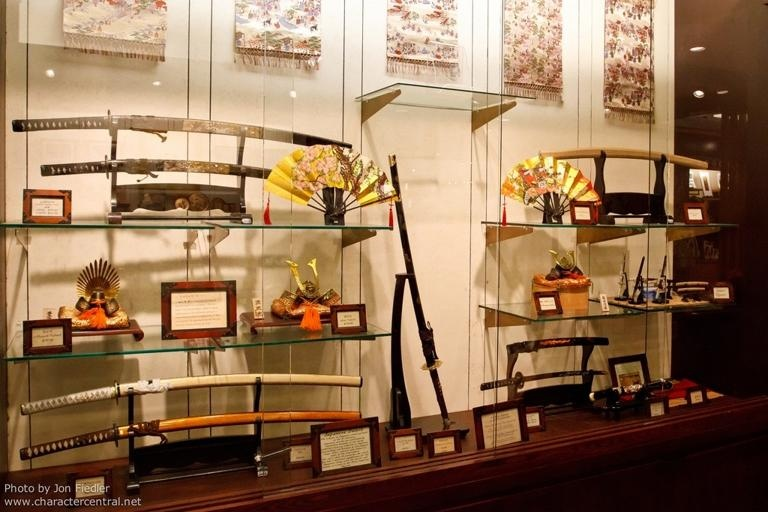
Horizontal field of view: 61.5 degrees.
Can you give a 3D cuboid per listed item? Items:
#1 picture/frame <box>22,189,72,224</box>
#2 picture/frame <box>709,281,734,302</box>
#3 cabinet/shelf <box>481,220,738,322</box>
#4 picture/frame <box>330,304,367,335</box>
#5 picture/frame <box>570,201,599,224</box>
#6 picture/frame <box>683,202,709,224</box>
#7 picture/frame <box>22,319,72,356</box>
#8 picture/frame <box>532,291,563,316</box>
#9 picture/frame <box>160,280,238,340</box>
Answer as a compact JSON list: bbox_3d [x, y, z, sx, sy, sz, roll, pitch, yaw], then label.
[{"bbox_3d":[-1.442,-0.211,2.757,0.142,0.125,0.019,1,-4,-14],"label":"picture/frame"},{"bbox_3d":[1.764,0.188,3.376,0.115,0.111,0.028,4,-4,-19],"label":"picture/frame"},{"bbox_3d":[1.061,0.058,3.203,1.322,0.485,0.253,-3,1,-20],"label":"cabinet/shelf"},{"bbox_3d":[-0.162,0.278,2.843,0.137,0.116,0.014,-3,4,-26],"label":"picture/frame"},{"bbox_3d":[0.947,-0.207,3.048,0.163,0.111,0.037,-3,1,-27],"label":"picture/frame"},{"bbox_3d":[1.580,-0.222,3.290,0.107,0.095,0.011,-1,3,-17],"label":"picture/frame"},{"bbox_3d":[-1.423,0.349,2.734,0.152,0.134,0.025,0,2,-12],"label":"picture/frame"},{"bbox_3d":[0.753,0.219,3.002,0.101,0.103,0.014,-9,7,-13],"label":"picture/frame"},{"bbox_3d":[-0.819,0.246,2.853,0.253,0.218,0.020,0,-2,-9],"label":"picture/frame"}]
